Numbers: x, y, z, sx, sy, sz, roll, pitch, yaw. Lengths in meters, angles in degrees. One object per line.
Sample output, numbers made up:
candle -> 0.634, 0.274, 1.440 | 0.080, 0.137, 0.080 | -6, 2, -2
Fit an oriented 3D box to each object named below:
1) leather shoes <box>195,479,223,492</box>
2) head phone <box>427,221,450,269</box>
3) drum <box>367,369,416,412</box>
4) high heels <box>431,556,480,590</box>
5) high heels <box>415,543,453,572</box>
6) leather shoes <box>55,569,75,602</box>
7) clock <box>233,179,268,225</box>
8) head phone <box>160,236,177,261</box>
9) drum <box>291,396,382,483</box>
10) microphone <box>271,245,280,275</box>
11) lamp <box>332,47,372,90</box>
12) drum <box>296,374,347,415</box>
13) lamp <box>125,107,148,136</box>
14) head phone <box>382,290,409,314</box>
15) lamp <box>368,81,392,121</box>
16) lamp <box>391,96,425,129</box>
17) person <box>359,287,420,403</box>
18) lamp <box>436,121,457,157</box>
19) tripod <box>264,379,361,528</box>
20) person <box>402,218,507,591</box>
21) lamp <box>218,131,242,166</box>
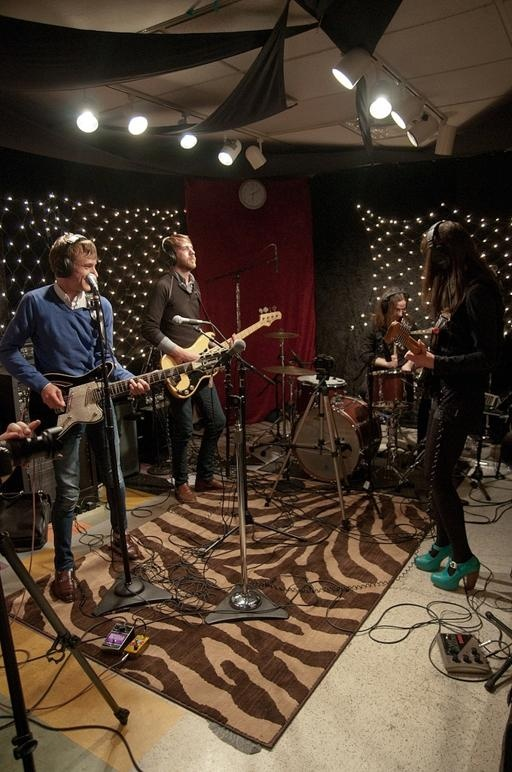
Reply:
leather shoes -> -0.343, 0.748, 4.105 | 0.220, 0.095, 0.080 | -1, -2, -7
head phone -> 0.783, -0.620, 2.372 | 0.093, 0.195, 0.178 | 1, 10, 16
drum -> 0.963, 0.029, 3.869 | 0.307, 0.216, 0.306 | 0, 0, 0
high heels -> 0.932, 0.898, 2.643 | 0.250, 0.176, 0.138 | 1, 0, 15
high heels -> 0.885, 0.878, 2.831 | 0.214, 0.149, 0.112 | -4, 4, 2
leather shoes -> -0.919, 0.979, 2.647 | 0.064, 0.072, 0.181 | 3, -1, -27
clock -> -0.033, -2.001, 5.781 | 0.302, 0.339, 0.057 | -2, 10, -1
head phone -> -0.593, -0.944, 3.781 | 0.081, 0.183, 0.196 | -3, 10, -8
drum -> 0.511, 0.509, 4.175 | 0.616, 0.609, 0.430 | 0, -28, -3
microphone -> 0.223, -1.376, 5.891 | 0.073, 0.322, 0.080 | -5, 10, -16
lamp -> 0.522, -1.736, 3.013 | 0.188, 0.174, 0.247 | -1, 10, 5
drum -> 0.420, 0.049, 3.864 | 0.305, 0.271, 0.306 | 12, 30, 26
lamp -> -0.838, -1.885, 3.925 | 0.119, 0.104, 0.131 | 0, 10, 8
head phone -> 1.198, -0.743, 4.807 | 0.179, 0.086, 0.216 | 1, -16, -7
lamp -> 0.769, -1.804, 3.470 | 0.163, 0.228, 0.161 | -4, 26, 4
lamp -> 1.063, -1.909, 3.802 | 0.166, 0.177, 0.313 | 6, 12, 36
person -> 1.205, -0.269, 4.998 | 0.495, 1.322, 0.433 | 3, 26, 7
lamp -> 1.508, -1.972, 4.374 | 0.131, 0.240, 0.227 | 2, 10, 21
tripod -> 0.501, 0.390, 3.660 | 0.650, 0.863, 0.560 | -3, 8, -26
person -> 0.889, 0.145, 2.464 | 0.281, 1.714, 0.365 | -6, 11, -21
lamp -> -0.220, -2.084, 4.808 | 0.163, 0.252, 0.299 | -1, 10, 5
